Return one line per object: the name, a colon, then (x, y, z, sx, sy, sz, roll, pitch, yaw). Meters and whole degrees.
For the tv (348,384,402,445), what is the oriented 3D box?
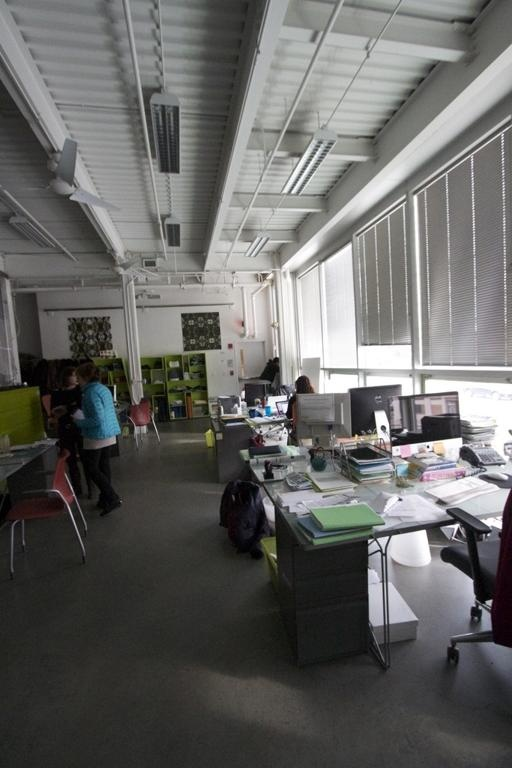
tv: (0.758, 0.213, 3.268, 0.334, 0.346, 0.110, -2, 6, -13)

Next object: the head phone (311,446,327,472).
head phone: (0.341, 0.435, 2.951, 0.106, 0.156, 0.106, -4, 5, -25)

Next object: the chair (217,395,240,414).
chair: (-0.308, 0.260, 5.955, 0.241, 0.141, 0.438, -4, 12, -1)

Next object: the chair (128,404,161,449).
chair: (-1.805, 0.714, 8.212, 0.493, 0.846, 0.537, -9, 11, -32)

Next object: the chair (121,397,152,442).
chair: (-1.907, 0.592, 8.179, 0.501, 0.777, 0.547, -8, 15, -34)

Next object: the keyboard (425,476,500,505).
keyboard: (1.013, 0.523, 2.516, 0.218, 0.034, 0.142, -7, 8, -20)

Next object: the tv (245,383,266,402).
tv: (-0.009, 0.115, 6.332, 0.275, 0.262, 0.079, 0, 13, 19)

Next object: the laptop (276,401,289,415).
laptop: (0.291, 0.265, 5.610, 0.134, 0.097, 0.115, 0, 2, -9)

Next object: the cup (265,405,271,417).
cup: (0.131, 0.299, 5.517, 0.089, 0.135, 0.090, 1, 5, 0)

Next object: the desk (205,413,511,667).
desk: (0.530, 0.526, 2.464, 0.865, 0.389, 1.627, -1, 7, -10)

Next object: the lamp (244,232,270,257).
lamp: (0.023, -1.855, 6.806, 0.170, 0.096, 0.636, 5, -13, -10)

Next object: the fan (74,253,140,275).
fan: (-2.415, -1.957, 8.414, 0.927, 0.284, 0.676, 1, -1, 10)
